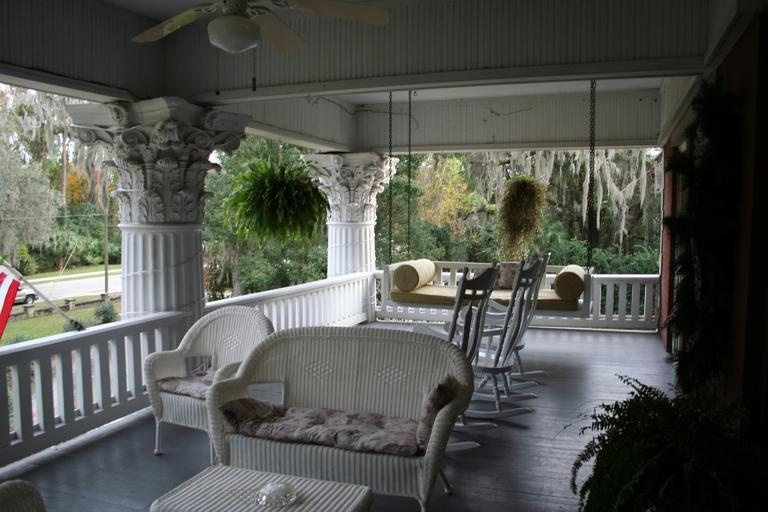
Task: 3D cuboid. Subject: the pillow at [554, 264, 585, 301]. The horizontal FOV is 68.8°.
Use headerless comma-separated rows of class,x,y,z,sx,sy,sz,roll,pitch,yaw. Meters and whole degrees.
pillow,2.226,0.333,6.681,0.340,0.354,0.420,5,11,20
